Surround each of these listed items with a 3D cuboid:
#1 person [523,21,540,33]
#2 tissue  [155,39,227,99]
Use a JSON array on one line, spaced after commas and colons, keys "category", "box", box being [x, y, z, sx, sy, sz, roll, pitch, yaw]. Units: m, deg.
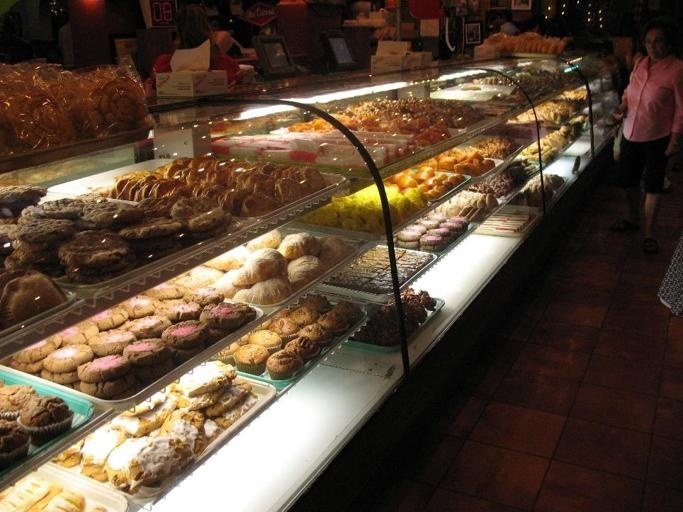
[{"category": "person", "box": [2.927, -3.527, 7.445, 0.204, 0.204, 0.808, 2, 23, 20]}, {"category": "tissue ", "box": [-0.714, -0.898, 2.319, 0.263, 0.188, 0.268, 23, 41, 35]}]
